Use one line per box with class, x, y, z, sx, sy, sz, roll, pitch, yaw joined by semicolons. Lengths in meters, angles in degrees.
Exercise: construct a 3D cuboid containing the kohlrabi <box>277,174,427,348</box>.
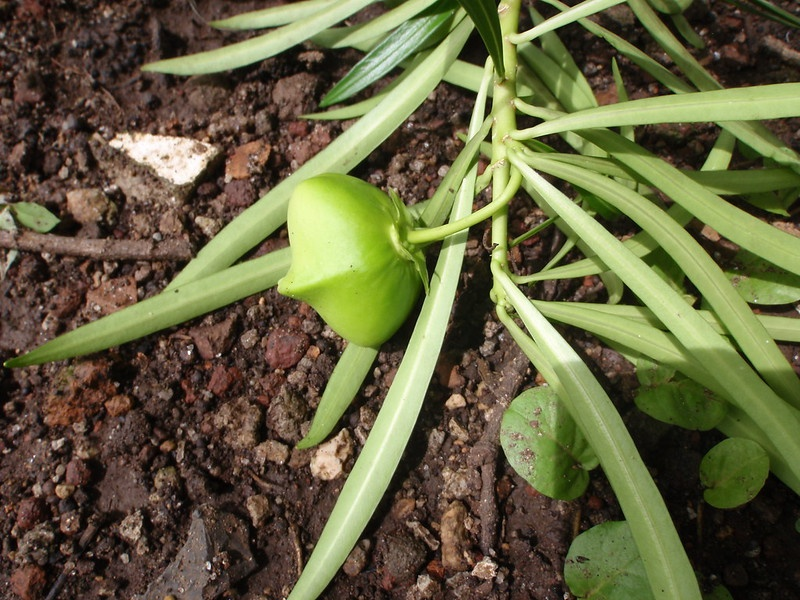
kohlrabi;-0.103;-0.102;1.857;0.340;0.287;0.408;-13;12;-23
